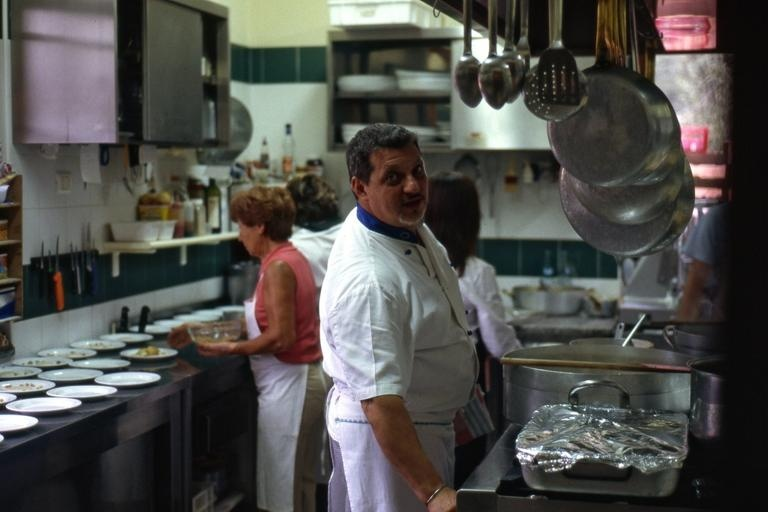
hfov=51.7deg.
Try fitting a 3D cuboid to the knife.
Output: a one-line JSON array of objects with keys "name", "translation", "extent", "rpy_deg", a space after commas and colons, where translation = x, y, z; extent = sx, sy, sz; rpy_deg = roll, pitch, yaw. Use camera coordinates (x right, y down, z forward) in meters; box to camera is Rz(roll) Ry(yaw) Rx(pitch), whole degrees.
[{"name": "knife", "translation": [-1.373, 0.049, 3.471], "extent": [0.109, 0.369, 0.399], "rpy_deg": [0, 6, 8]}]

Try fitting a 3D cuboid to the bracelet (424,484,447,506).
[{"name": "bracelet", "translation": [0.136, 0.634, 2.090], "extent": [0.052, 0.049, 0.033], "rpy_deg": [0, 5, 5]}]
